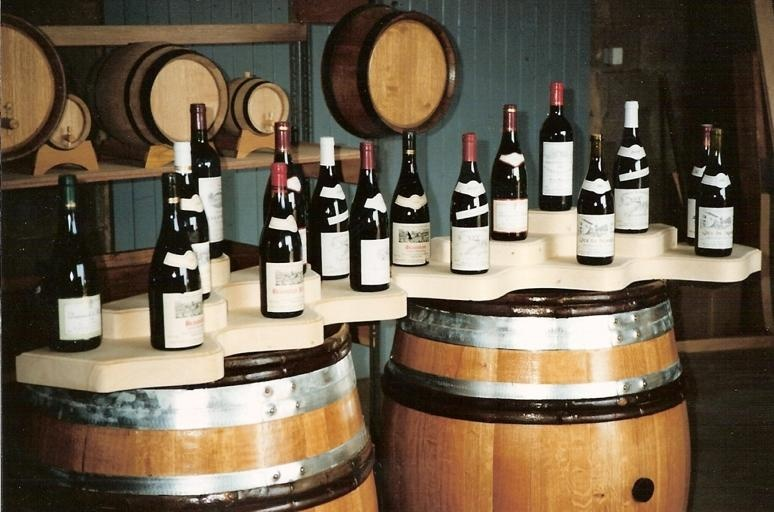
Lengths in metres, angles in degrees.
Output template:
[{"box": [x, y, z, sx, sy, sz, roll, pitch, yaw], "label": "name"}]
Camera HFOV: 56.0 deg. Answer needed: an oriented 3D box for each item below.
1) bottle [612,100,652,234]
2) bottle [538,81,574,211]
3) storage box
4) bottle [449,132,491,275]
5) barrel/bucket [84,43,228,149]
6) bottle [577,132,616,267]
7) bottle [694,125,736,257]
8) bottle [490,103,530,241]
[{"box": [0.870, -0.272, 2.624, 0.115, 0.383, 0.099, -2, 3, 16], "label": "bottle"}, {"box": [0.604, -0.397, 2.644, 0.121, 0.476, 0.196, -2, 3, 11], "label": "bottle"}, {"box": [1.606, 0.284, 3.685, 0.324, 0.312, 0.176, -1, 5, 10], "label": "storage box"}, {"box": [0.269, -0.158, 2.418, 0.131, 0.432, 0.161, -2, 3, 7], "label": "bottle"}, {"box": [-0.944, -0.696, 3.151, 0.511, 0.504, 0.479, -7, 17, 2], "label": "barrel/bucket"}, {"box": [0.739, -0.195, 2.506, 0.216, 0.444, 0.124, -5, 4, -39], "label": "bottle"}, {"box": [1.172, -0.229, 2.633, 0.126, 0.454, 0.213, -1, 3, 24], "label": "bottle"}, {"box": [0.432, -0.294, 2.622, 0.132, 0.472, 0.264, -2, 3, 10], "label": "bottle"}]
